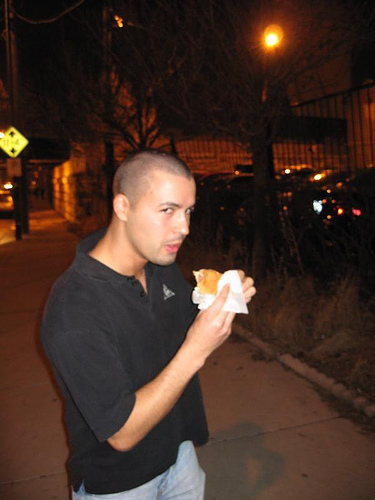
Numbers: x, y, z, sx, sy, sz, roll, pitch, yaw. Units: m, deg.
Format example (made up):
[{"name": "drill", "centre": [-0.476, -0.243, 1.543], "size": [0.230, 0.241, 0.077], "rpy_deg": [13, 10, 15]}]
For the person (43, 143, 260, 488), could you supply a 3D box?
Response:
[{"name": "person", "centre": [-0.158, 0.336, 1.795], "size": [0.655, 1.539, 0.968], "rpy_deg": [4, 12, 33]}]

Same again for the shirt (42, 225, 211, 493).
[{"name": "shirt", "centre": [-0.250, 0.457, 1.775], "size": [0.544, 1.070, 0.867], "rpy_deg": [0, 11, 15]}]

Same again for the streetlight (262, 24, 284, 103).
[{"name": "streetlight", "centre": [1.063, -2.392, 5.256], "size": [0.238, 0.703, 0.563], "rpy_deg": [-1, 10, 11]}]

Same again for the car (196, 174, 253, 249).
[{"name": "car", "centre": [0.793, -1.192, 11.279], "size": [1.907, 2.240, 2.022], "rpy_deg": [1, -6, -2]}]

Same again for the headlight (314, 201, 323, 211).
[{"name": "headlight", "centre": [2.287, -0.774, 7.355], "size": [0.132, 0.151, 0.103], "rpy_deg": [8, -16, -41]}]
